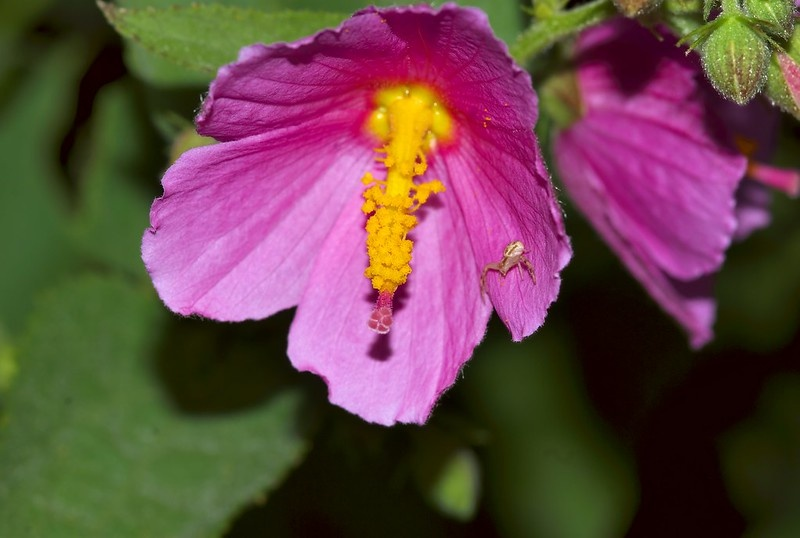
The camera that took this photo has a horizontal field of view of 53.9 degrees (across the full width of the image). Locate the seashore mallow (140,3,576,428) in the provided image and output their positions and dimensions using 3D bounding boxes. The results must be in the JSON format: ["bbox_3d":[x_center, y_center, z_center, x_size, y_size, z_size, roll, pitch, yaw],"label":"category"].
[{"bbox_3d":[-0.095,-0.175,1.567,0.708,0.736,0.414,-12,26,-3],"label":"seashore mallow"}]
